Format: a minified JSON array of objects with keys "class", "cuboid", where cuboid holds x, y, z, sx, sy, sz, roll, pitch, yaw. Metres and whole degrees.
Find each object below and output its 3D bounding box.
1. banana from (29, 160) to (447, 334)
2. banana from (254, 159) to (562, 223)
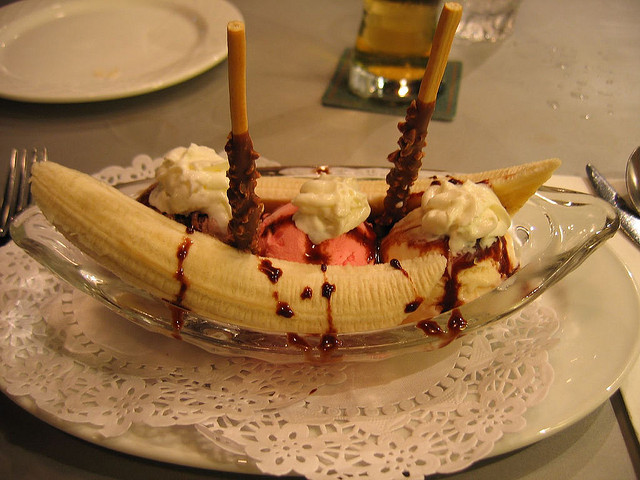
[{"class":"banana","cuboid":[-0.227,0.051,1.419,1.015,0.180,0.230,15,52,1]},{"class":"banana","cuboid":[0.221,-0.120,1.534,1.002,0.143,0.144,-1,32,8]}]
